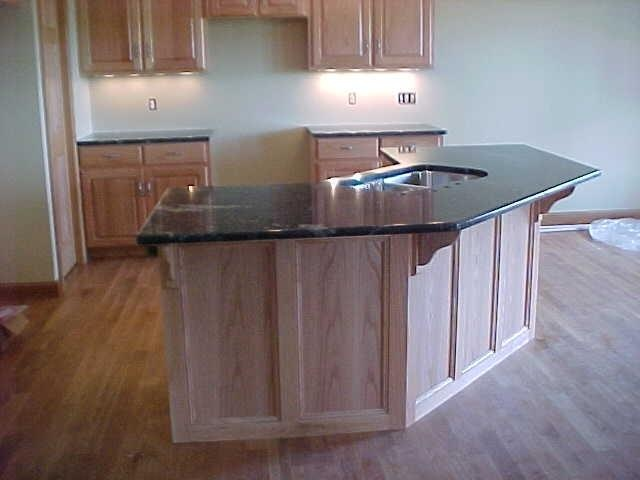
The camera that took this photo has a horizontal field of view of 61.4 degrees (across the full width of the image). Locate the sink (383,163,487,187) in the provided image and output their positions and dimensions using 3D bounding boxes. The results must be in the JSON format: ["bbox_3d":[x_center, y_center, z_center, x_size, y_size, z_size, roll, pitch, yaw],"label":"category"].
[{"bbox_3d":[0.642,-0.379,3.287,0.310,0.091,0.309,-20,24,-34],"label":"sink"}]
